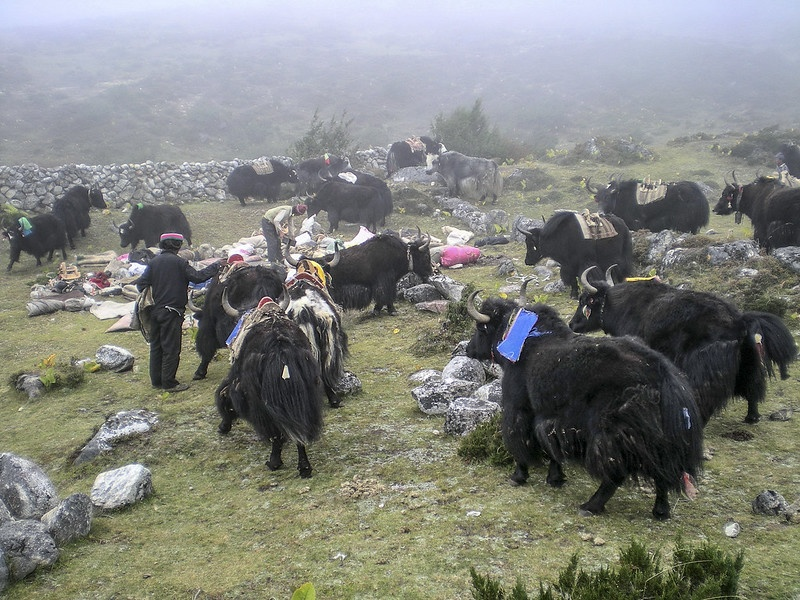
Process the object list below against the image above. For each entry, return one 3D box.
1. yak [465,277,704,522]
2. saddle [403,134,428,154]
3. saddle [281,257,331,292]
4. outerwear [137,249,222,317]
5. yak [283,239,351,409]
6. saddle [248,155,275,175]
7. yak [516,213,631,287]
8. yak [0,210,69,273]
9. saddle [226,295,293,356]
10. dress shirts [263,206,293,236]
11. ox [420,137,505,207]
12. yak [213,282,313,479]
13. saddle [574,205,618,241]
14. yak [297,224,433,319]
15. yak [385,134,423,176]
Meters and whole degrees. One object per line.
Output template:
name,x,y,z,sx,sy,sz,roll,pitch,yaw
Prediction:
yak,1.554,0.933,5.898,0.844,1.363,1.621,-19,24,-41
saddle,0.450,-5.172,23.909,0.720,0.322,0.903,3,18,-24
saddle,-1.094,-0.270,8.547,0.619,0.397,0.401,11,13,38
outerwear,-2.600,-0.160,8.346,1.101,0.769,0.401,-3,-9,13
yak,-1.071,0.109,8.393,0.676,1.132,2.022,-3,18,-8
saddle,-3.692,-3.516,19.212,0.564,0.328,0.992,-7,17,-13
yak,2.726,-0.750,10.933,1.807,1.161,0.631,-3,4,-7
yak,-7.120,-1.163,14.066,0.734,1.011,1.160,5,19,22
saddle,-1.352,0.252,7.012,0.612,0.562,0.259,-27,42,-34
dress shirts,-2.284,-1.513,13.819,0.473,0.528,0.659,3,18,19
ox,1.710,-3.366,19.722,1.053,1.238,2.250,-12,19,-26
yak,-1.141,0.763,6.607,0.717,1.142,1.929,-1,19,-23
saddle,2.892,-1.093,10.615,0.530,0.182,0.368,1,47,2
yak,-0.485,-0.389,10.789,1.972,0.944,0.601,-13,16,-29
yak,0.161,-4.627,23.512,1.500,1.035,1.305,-8,18,-17
